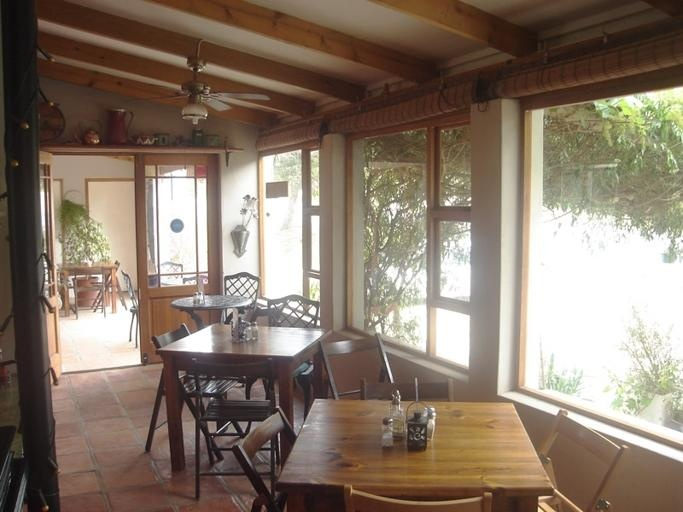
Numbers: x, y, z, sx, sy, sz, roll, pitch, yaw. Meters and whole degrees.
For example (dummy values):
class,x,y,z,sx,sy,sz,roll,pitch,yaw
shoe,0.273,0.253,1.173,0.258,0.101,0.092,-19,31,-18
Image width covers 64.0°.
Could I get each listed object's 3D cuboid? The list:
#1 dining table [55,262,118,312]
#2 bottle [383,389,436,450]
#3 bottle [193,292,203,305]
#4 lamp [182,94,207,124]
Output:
class,x,y,z,sx,sy,sz,roll,pitch,yaw
dining table,-4.738,0.585,10.358,1.057,0.984,1.097,-4,7,-35
bottle,0.439,0.964,3.227,0.338,0.367,0.212,0,2,13
bottle,-1.680,0.507,6.427,0.105,0.195,0.105,-2,-13,0
lamp,-1.244,-1.256,4.660,0.182,0.216,0.278,-1,8,-11
